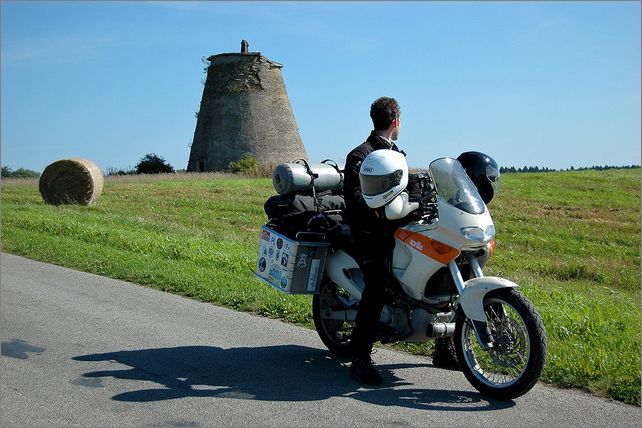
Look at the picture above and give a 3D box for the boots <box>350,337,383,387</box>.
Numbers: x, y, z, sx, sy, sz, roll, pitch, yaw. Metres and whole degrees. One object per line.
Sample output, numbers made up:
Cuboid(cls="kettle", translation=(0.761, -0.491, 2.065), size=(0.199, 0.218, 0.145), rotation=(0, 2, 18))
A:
Cuboid(cls="boots", translation=(0.600, 1.992, 7.166), size=(0.271, 0.544, 0.754), rotation=(-5, -1, -15))
